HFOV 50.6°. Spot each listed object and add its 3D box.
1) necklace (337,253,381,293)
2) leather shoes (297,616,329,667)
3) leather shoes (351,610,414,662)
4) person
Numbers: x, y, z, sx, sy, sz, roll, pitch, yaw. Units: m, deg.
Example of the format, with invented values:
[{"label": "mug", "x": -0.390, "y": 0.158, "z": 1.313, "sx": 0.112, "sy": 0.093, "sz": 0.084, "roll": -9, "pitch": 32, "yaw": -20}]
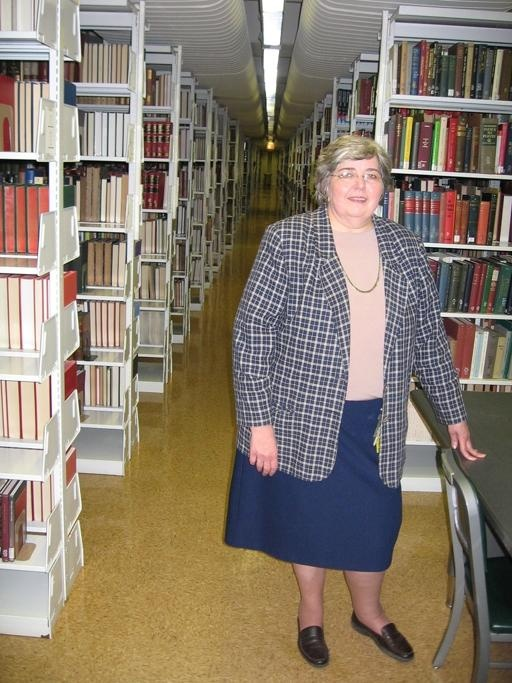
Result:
[{"label": "necklace", "x": 0.276, "y": -0.168, "z": 1.408, "sx": 0.106, "sy": 0.090, "sz": 0.060, "roll": 0, "pitch": 8, "yaw": -7}, {"label": "leather shoes", "x": 0.186, "y": 0.945, "z": 1.698, "sx": 0.061, "sy": 0.057, "sz": 0.150, "roll": 0, "pitch": 27, "yaw": -1}, {"label": "leather shoes", "x": 0.415, "y": 0.967, "z": 1.809, "sx": 0.073, "sy": 0.080, "sz": 0.212, "roll": -6, "pitch": 13, "yaw": -33}, {"label": "person", "x": 0.262, "y": 0.198, "z": 1.523, "sx": 0.690, "sy": 1.441, "sz": 0.379, "roll": -1, "pitch": 10, "yaw": -5}]
